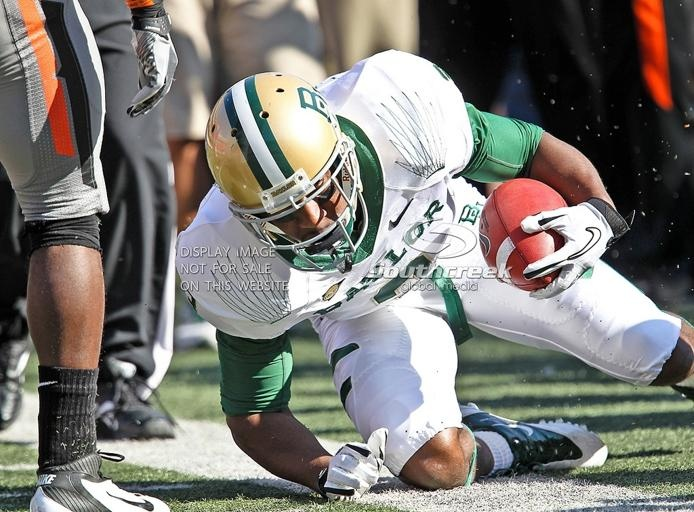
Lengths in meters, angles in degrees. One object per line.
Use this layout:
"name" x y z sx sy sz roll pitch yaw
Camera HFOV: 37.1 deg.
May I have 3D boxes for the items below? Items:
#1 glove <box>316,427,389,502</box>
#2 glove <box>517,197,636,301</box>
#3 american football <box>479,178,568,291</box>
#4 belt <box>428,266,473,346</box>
"glove" 0.015 0.566 2.763 0.189 0.194 0.082 -3 29 -1
"glove" 0.642 -0.050 2.862 0.242 0.278 0.321 13 14 32
"american football" 0.504 -0.076 2.933 0.273 0.219 0.224 10 -14 -25
"belt" 0.331 0.151 3.219 0.123 0.246 0.113 -12 16 -33
